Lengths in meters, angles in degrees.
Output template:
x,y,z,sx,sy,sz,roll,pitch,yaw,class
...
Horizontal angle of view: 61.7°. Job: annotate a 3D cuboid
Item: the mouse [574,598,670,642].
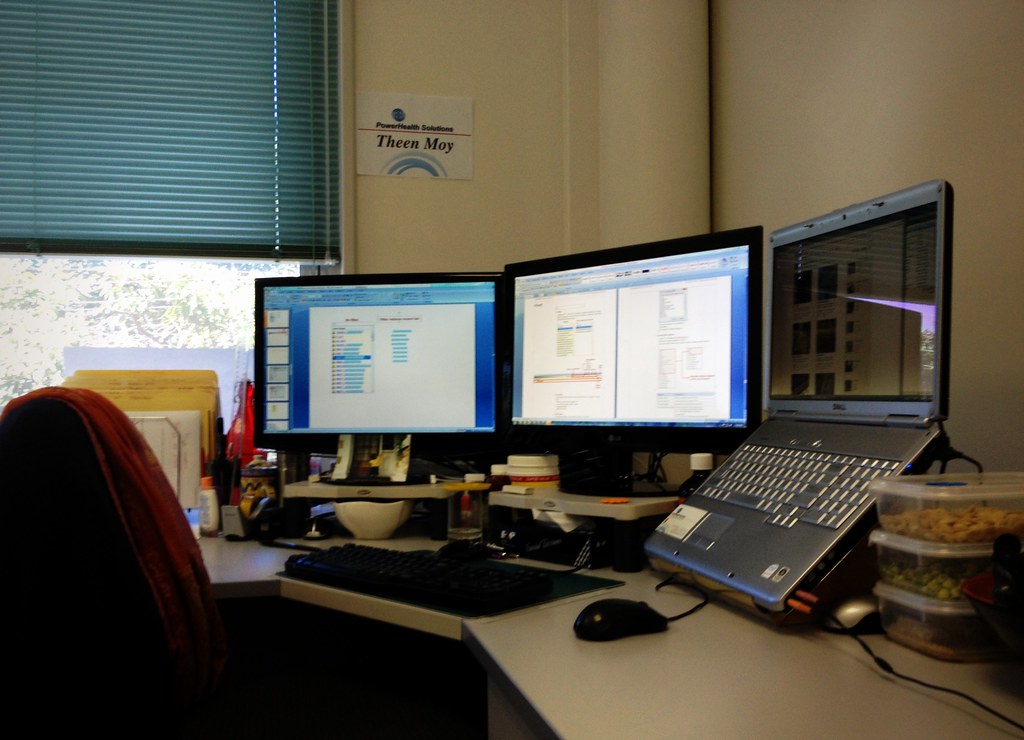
x,y,z,sx,sy,sz,roll,pitch,yaw,class
0.172,0.401,1.384,0.121,0.044,0.066,-4,3,-20,mouse
